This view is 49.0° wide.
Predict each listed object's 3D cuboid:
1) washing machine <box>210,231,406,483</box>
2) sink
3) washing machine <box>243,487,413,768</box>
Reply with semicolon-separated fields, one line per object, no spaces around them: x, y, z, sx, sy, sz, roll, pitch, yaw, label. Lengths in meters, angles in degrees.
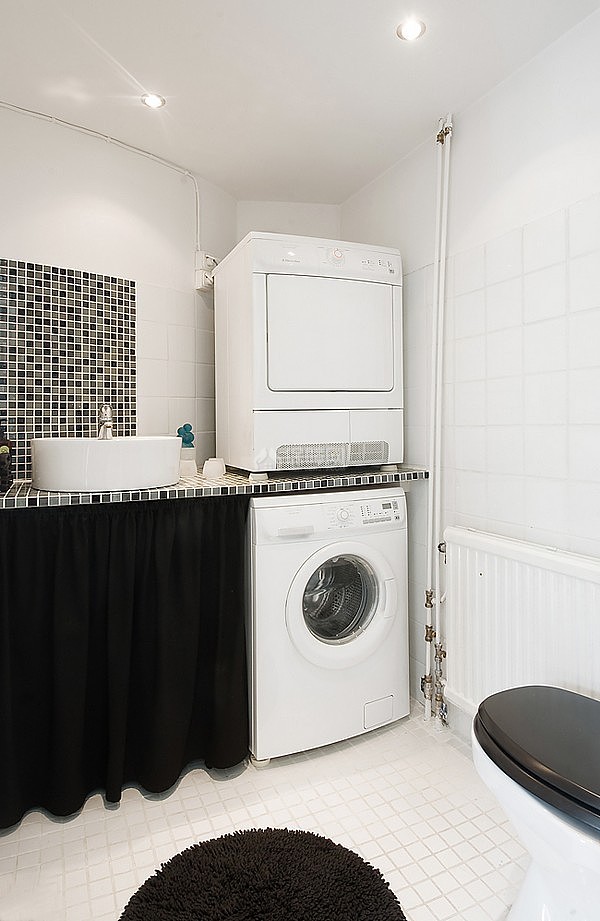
0.079;-0.248;2.369;0.590;0.844;0.641;-3;-18;5;washing machine
-0.520;0.011;1.800;0.386;0.142;0.168;-3;5;-24;sink
0.062;0.460;2.271;0.544;0.842;0.524;-6;11;-23;washing machine
